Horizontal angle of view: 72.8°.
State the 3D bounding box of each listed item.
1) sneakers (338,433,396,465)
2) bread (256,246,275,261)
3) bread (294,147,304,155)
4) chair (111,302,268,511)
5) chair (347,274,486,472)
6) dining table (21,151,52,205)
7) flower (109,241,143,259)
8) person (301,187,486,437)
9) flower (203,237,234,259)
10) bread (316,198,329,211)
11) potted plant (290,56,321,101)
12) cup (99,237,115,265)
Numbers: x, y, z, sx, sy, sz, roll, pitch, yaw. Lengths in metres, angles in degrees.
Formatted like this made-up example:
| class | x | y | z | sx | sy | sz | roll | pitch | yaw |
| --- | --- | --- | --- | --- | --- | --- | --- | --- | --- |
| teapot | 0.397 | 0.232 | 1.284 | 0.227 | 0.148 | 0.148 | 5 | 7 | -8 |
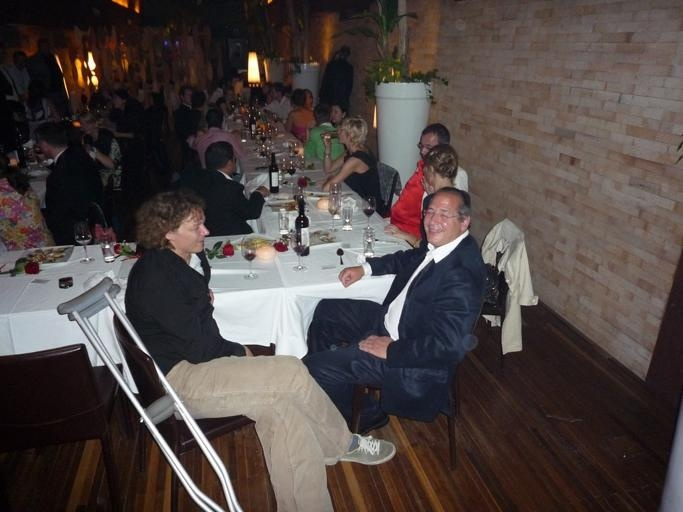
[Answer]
| class | x | y | z | sx | sy | sz | roll | pitch | yaw |
| --- | --- | --- | --- | --- | --- | --- | --- | --- | --- |
| sneakers | 0.168 | 1.205 | 2.872 | 0.428 | 0.178 | 0.165 | 1 | 58 | -6 |
| bread | -0.515 | -0.019 | 3.159 | 0.099 | 0.084 | 0.101 | -4 | 43 | -9 |
| bread | -0.529 | -1.346 | 5.786 | 0.119 | 0.117 | 0.031 | -3 | -16 | 42 |
| chair | -0.835 | 0.828 | 2.549 | 0.701 | 1.160 | 0.612 | -6 | 39 | -16 |
| chair | 0.359 | 0.755 | 3.321 | 0.843 | 1.315 | 0.730 | 2 | 19 | -4 |
| dining table | -3.259 | -0.812 | 5.014 | 0.249 | 0.507 | 1.176 | -14 | 24 | -30 |
| flower | -1.520 | -0.048 | 3.284 | 0.153 | 0.042 | 0.157 | 41 | 23 | 27 |
| person | 0.334 | 0.448 | 3.075 | 0.969 | 1.761 | 0.996 | 14 | 22 | 8 |
| flower | -0.853 | -0.045 | 3.236 | 0.155 | 0.080 | 0.155 | -10 | 29 | -28 |
| bread | -0.156 | -0.449 | 4.065 | 0.108 | 0.102 | 0.108 | -4 | 39 | -22 |
| potted plant | -0.895 | -4.265 | 11.365 | 0.788 | 0.919 | 0.818 | 33 | 41 | 32 |
| cup | -1.612 | -0.038 | 3.189 | 0.096 | 0.167 | 0.095 | 0 | 34 | 0 |
